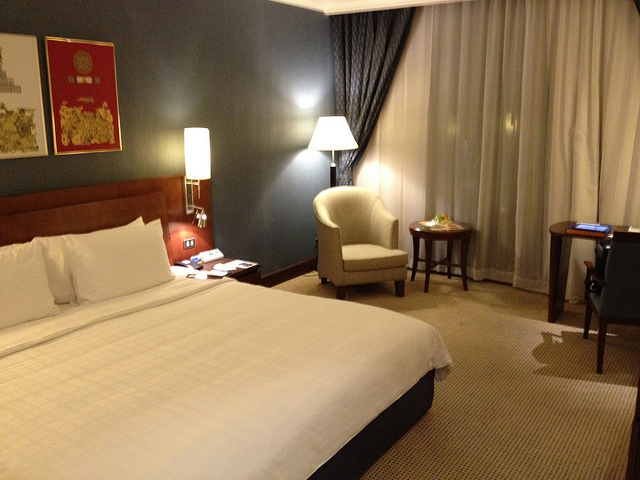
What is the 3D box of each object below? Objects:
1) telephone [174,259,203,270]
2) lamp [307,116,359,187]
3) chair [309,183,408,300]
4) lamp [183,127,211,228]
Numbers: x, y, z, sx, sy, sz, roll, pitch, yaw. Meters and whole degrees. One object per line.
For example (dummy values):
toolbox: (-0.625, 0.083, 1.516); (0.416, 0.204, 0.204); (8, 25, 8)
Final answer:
telephone: (-1.245, 0.247, 4.409); (0.281, 0.054, 0.171); (6, 14, 30)
lamp: (0.167, -0.937, 5.973); (0.579, 1.290, 0.582); (-16, 26, -32)
chair: (0.469, 0.049, 5.443); (1.016, 1.271, 1.182); (0, 9, 11)
lamp: (-1.170, -0.563, 4.461); (0.244, 0.991, 0.375); (-6, 13, -21)
